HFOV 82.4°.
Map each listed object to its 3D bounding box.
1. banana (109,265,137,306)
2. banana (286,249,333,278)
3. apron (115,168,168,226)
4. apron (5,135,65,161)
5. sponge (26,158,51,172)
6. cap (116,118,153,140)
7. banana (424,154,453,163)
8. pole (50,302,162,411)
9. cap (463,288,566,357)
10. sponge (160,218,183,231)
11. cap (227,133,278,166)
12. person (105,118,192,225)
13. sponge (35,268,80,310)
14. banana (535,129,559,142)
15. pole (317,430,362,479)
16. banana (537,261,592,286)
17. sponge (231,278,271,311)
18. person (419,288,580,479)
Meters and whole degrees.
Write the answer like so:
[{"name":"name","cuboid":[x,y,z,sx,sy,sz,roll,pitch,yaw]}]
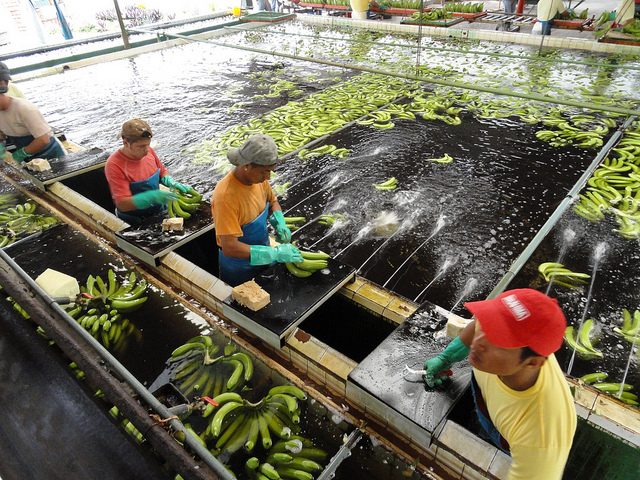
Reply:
[{"name":"banana","cuboid":[-1.452,0.345,2.797,0.079,0.130,0.346,-40,24,21]},{"name":"banana","cuboid":[-0.078,0.192,2.778,0.264,0.089,0.178,7,54,4]},{"name":"apron","cuboid":[-1.788,-0.433,3.746,0.259,0.414,0.574,27,46,31]},{"name":"apron","cuboid":[-3.593,-1.103,4.468,0.595,0.317,0.451,-2,37,-1]},{"name":"sponge","cuboid":[-3.008,-0.805,3.919,0.180,0.056,0.167,12,34,14]},{"name":"cap","cuboid":[-1.675,-1.002,3.324,0.259,0.172,0.222,-24,43,-27]},{"name":"banana","cuboid":[1.705,-1.125,5.145,0.279,0.068,0.130,-1,25,21]},{"name":"pole","cuboid":[-1.133,0.631,1.960,0.966,0.061,0.065,37,46,15]},{"name":"cap","cuboid":[0.800,0.322,1.492,0.350,0.145,0.218,7,38,10]},{"name":"sponge","cuboid":[-1.294,-0.139,3.216,0.172,0.073,0.121,-10,38,-12]},{"name":"cap","cuboid":[-0.473,-0.628,2.616,0.338,0.165,0.196,11,57,-7]},{"name":"person","cuboid":[-1.698,-0.711,3.460,0.650,0.802,0.713,-22,43,-25]},{"name":"sponge","cuboid":[-1.879,0.332,2.651,0.275,0.190,0.195,29,47,34]},{"name":"banana","cuboid":[3.450,-1.594,5.578,0.279,0.085,0.185,-6,50,-29]},{"name":"pole","cuboid":[0.108,1.086,1.852,0.031,0.020,0.306,28,45,33]},{"name":"banana","cuboid":[2.295,0.315,3.455,0.314,0.116,0.230,0,34,33]},{"name":"sponge","cuboid":[-0.474,0.369,2.483,0.182,0.083,0.247,-19,39,-38]},{"name":"person","cuboid":[0.824,0.718,1.735,0.554,1.038,0.736,-12,58,14]}]
